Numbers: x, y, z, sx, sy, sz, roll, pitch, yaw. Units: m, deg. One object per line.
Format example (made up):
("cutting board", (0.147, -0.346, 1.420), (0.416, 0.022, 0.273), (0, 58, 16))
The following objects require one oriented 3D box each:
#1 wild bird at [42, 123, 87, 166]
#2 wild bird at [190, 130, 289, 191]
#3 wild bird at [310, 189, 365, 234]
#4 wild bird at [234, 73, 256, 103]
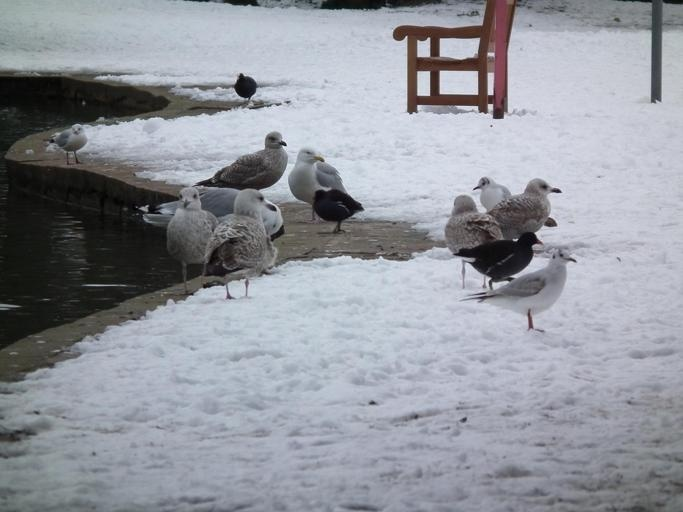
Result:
("wild bird", (-4.368, -1.808, 16.259), (0.412, 0.598, 1.066), (-13, 18, -43))
("wild bird", (-1.270, -1.304, 14.027), (1.054, 0.806, 0.538), (-8, 15, -37))
("wild bird", (-0.040, -0.587, 12.915), (0.782, 0.447, 0.428), (-2, 1, -25))
("wild bird", (-1.911, -3.342, 20.175), (0.368, 0.535, 0.667), (-1, 11, -6))
